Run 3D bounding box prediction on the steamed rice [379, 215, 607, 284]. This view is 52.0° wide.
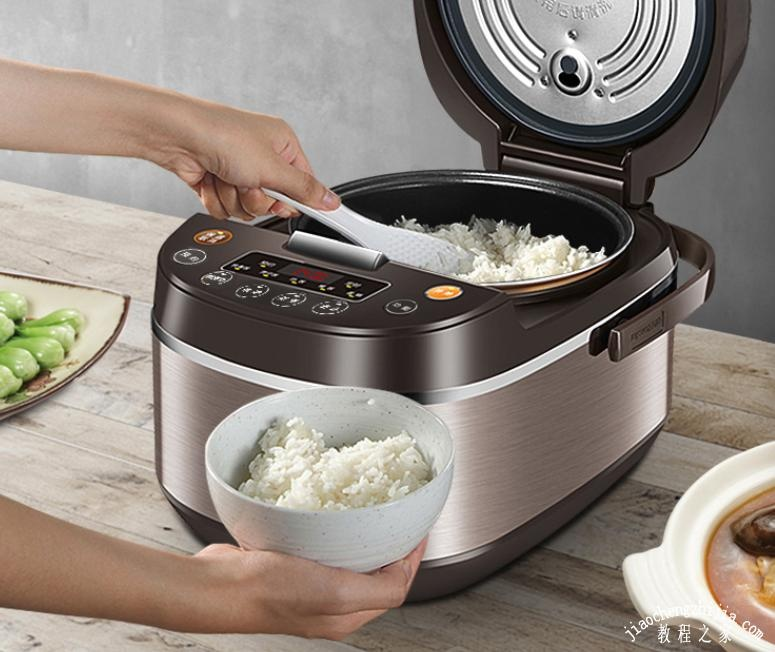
[{"bbox_3d":[0.123,-0.080,0.814,0.137,0.018,0.131,-13,24,-33],"label":"steamed rice"}]

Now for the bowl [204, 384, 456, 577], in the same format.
[{"bbox_3d":[-0.039,0.069,0.483,0.178,0.056,0.139,1,19,3],"label":"bowl"}]
